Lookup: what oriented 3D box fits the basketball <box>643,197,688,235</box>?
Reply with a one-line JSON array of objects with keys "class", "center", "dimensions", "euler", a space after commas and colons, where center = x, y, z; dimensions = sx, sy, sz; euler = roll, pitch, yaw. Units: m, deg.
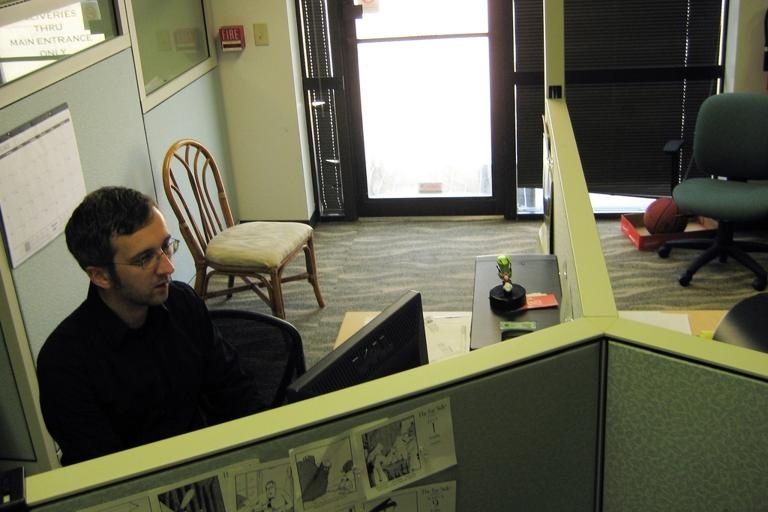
[{"class": "basketball", "center": [2.067, -0.303, 4.270], "dimensions": [0.272, 0.335, 0.279], "euler": [-4, 5, 1]}]

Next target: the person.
[{"class": "person", "center": [-0.794, 0.190, 1.859], "dimensions": [0.626, 0.953, 0.232], "euler": [-9, 3, -39]}]

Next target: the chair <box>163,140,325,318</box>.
[{"class": "chair", "center": [-0.919, -0.147, 3.677], "dimensions": [0.785, 1.142, 0.632], "euler": [7, 25, 13]}]
